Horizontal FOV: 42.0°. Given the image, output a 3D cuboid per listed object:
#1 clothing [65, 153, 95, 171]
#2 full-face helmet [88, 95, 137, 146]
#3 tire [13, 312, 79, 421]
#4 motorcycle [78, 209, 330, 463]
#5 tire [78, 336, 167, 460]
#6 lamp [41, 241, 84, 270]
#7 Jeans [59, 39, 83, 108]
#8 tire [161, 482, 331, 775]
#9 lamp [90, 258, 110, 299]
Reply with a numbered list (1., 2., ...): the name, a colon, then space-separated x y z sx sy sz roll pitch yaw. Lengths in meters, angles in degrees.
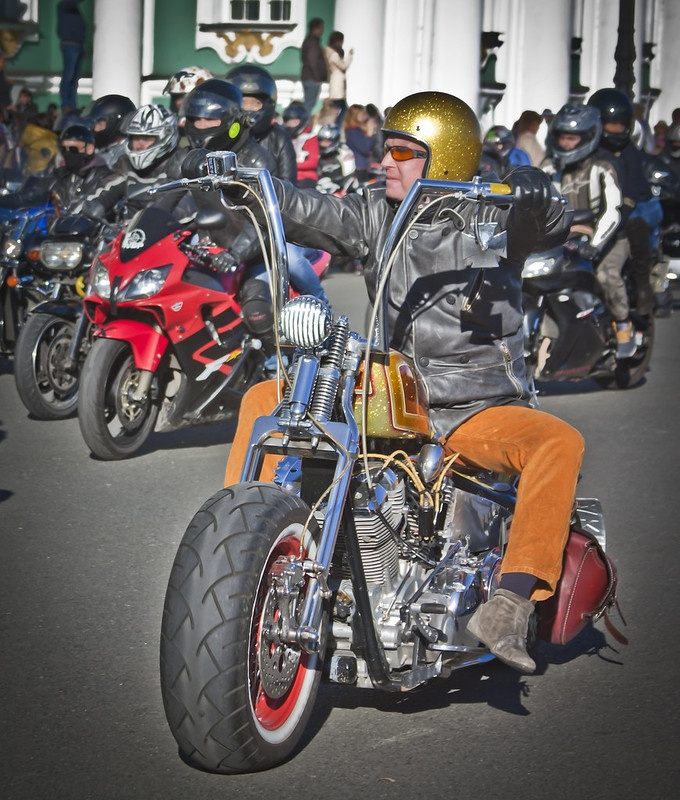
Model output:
1. clothing: -2.270 -2.074 7.760 0.174 0.112 0.207 1 19 21
2. full-face helmet: -2.549 -3.110 9.746 0.613 0.546 0.465 -2 42 -8
3. tire: -2.108 -0.233 6.427 0.327 0.796 0.555 2 8 0
4. motorcycle: -0.865 -0.425 6.016 0.903 1.356 2.691 -3 3 25
5. tire: -1.311 -0.018 5.359 0.275 0.558 0.670 0 28 22
6. lamp: -2.051 -1.063 6.563 0.359 0.192 0.078 -1 3 11
7. Jeans: -6.227 -7.446 20.575 0.465 1.505 1.352 -1 9 -18
8. tire: -0.234 0.528 2.060 0.263 0.655 0.428 5 9 17
9. lamp: -1.430 -0.718 5.234 0.100 0.229 0.258 -3 9 -29
